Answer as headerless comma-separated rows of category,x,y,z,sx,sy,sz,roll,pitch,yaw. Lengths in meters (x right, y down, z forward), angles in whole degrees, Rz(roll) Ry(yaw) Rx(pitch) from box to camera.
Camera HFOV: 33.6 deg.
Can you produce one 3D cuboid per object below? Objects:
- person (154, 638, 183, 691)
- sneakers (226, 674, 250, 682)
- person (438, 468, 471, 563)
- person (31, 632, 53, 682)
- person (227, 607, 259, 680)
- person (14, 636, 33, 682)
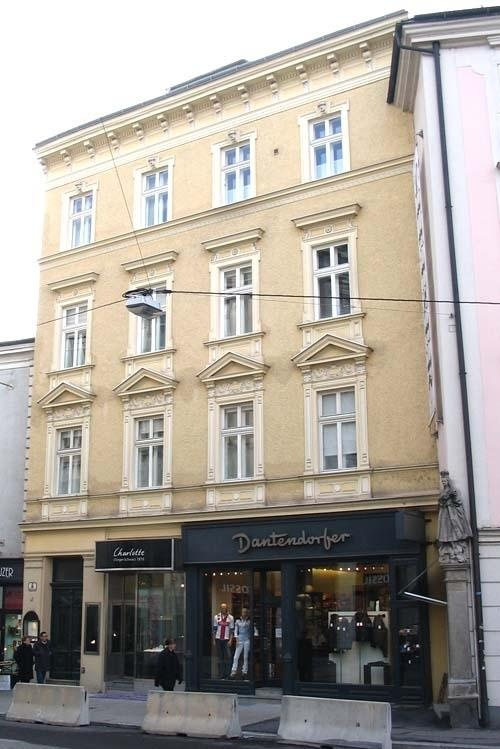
person,-1.521,5.421,15.428,0.462,0.908,0.860,-1,-16,-6
sneakers,-0.256,6.945,18.976,0.121,0.138,0.608,11,-21,-40
person,3.592,2.707,14.758,0.581,1.361,0.313,-6,-16,11
person,-4.957,6.781,19.811,0.353,1.148,0.605,2,-17,-14
person,-0.174,6.203,19.156,0.714,1.511,0.228,-13,-19,32
person,-5.140,6.563,19.052,0.417,0.992,0.846,2,-17,-15
